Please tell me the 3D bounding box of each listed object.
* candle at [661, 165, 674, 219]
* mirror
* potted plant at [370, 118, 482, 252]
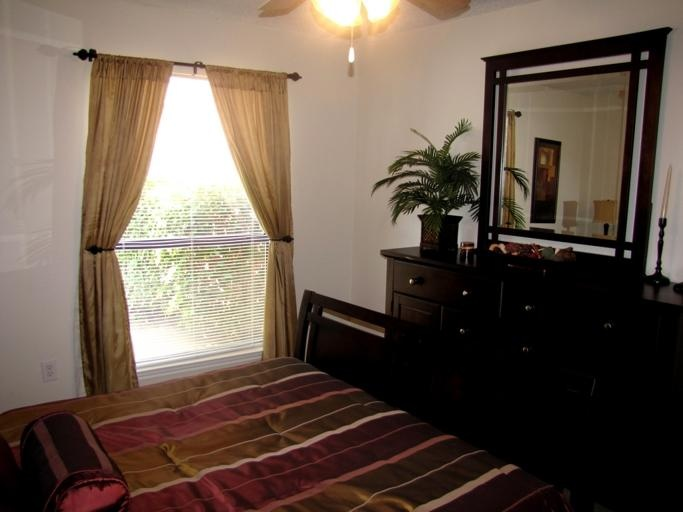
[{"bbox_3d":[1.782,-0.350,2.775,0.038,0.290,0.164,8,11,33],"label":"candle"},{"bbox_3d":[1.413,-0.640,3.119,0.066,1.438,1.014,-10,15,-42],"label":"mirror"},{"bbox_3d":[0.690,-0.479,3.804,0.730,0.968,0.931,2,3,35],"label":"potted plant"}]
